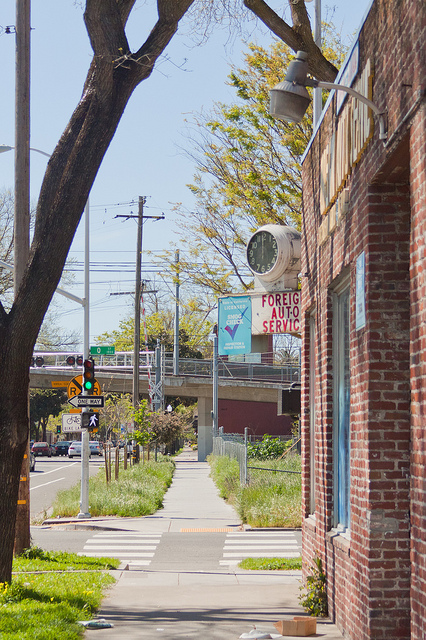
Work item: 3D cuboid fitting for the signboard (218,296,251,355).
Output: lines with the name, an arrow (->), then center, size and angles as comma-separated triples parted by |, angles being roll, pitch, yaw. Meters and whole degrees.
signboard -> 0.327, 0.084, 16.575 | 0.523, 0.921, 0.040 | -2, -18, 10

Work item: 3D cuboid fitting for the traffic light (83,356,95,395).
traffic light -> -2.276, 1.004, 20.969 | 0.203, 0.684, 0.472 | 2, -8, -7

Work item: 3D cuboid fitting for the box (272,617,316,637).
box -> 0.718, 2.618, 9.702 | 0.219, 0.093, 0.176 | -5, -5, 21

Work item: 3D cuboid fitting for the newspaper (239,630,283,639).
newspaper -> 0.410, 2.681, 9.697 | 0.348, 0.052, 0.322 | 0, -11, 7

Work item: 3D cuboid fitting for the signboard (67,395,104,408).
signboard -> -2.291, 1.447, 20.680 | 0.625, 0.254, 0.644 | 3, -10, -10

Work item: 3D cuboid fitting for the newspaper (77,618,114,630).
newspaper -> -1.034, 2.714, 10.153 | 0.307, 0.064, 0.361 | -5, -12, 30

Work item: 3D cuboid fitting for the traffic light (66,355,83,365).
traffic light -> -3.098, 0.890, 25.631 | 0.432, 0.146, 0.343 | 3, -4, -16

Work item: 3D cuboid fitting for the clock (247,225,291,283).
clock -> 0.767, -0.964, 16.429 | 0.640, 0.833, 0.286 | 0, -3, 25
